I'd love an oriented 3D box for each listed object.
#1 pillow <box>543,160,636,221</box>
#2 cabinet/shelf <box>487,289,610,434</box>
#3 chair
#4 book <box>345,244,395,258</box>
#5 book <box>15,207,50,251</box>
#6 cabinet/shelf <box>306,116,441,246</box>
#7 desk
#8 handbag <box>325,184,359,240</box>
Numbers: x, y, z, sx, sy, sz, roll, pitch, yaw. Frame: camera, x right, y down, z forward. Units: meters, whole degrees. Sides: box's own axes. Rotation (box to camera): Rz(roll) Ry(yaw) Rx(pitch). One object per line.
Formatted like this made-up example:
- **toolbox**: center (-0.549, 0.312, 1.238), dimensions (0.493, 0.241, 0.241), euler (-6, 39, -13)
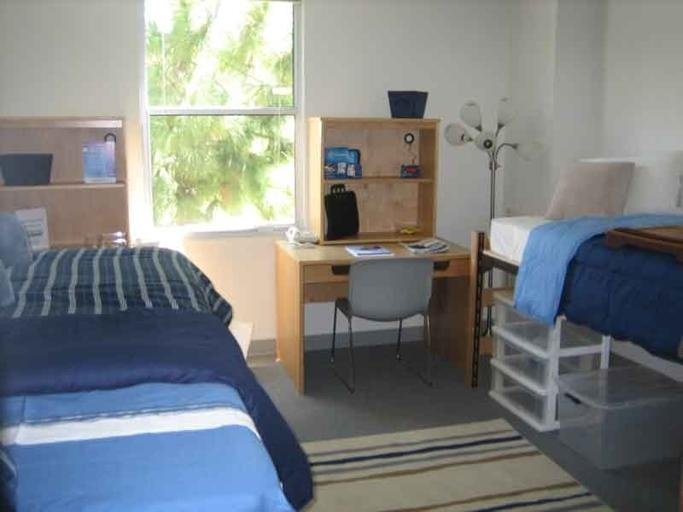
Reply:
- **pillow**: center (1.179, -0.307, 2.652), dimensions (0.156, 0.287, 0.351), euler (-11, 17, -36)
- **cabinet/shelf**: center (0.980, 0.478, 2.879), dimensions (0.528, 0.723, 0.714), euler (-1, 7, -17)
- **chair**: center (0.219, 0.325, 3.093), dimensions (0.512, 0.721, 0.517), euler (0, 10, -8)
- **book**: center (0.152, -0.026, 3.071), dimensions (0.255, 0.023, 0.324), euler (-3, 14, -7)
- **book**: center (-0.606, -0.049, 1.100), dimensions (0.019, 0.075, 0.075), euler (-13, -1, 31)
- **cabinet/shelf**: center (0.173, -0.474, 3.389), dimensions (0.751, 0.731, 0.301), euler (-2, 7, -16)
- **desk**: center (0.190, 0.296, 3.249), dimensions (1.007, 0.685, 0.560), euler (-2, 11, -15)
- **handbag**: center (-0.008, -0.263, 3.325), dimensions (0.252, 0.351, 0.131), euler (-13, 20, -36)
